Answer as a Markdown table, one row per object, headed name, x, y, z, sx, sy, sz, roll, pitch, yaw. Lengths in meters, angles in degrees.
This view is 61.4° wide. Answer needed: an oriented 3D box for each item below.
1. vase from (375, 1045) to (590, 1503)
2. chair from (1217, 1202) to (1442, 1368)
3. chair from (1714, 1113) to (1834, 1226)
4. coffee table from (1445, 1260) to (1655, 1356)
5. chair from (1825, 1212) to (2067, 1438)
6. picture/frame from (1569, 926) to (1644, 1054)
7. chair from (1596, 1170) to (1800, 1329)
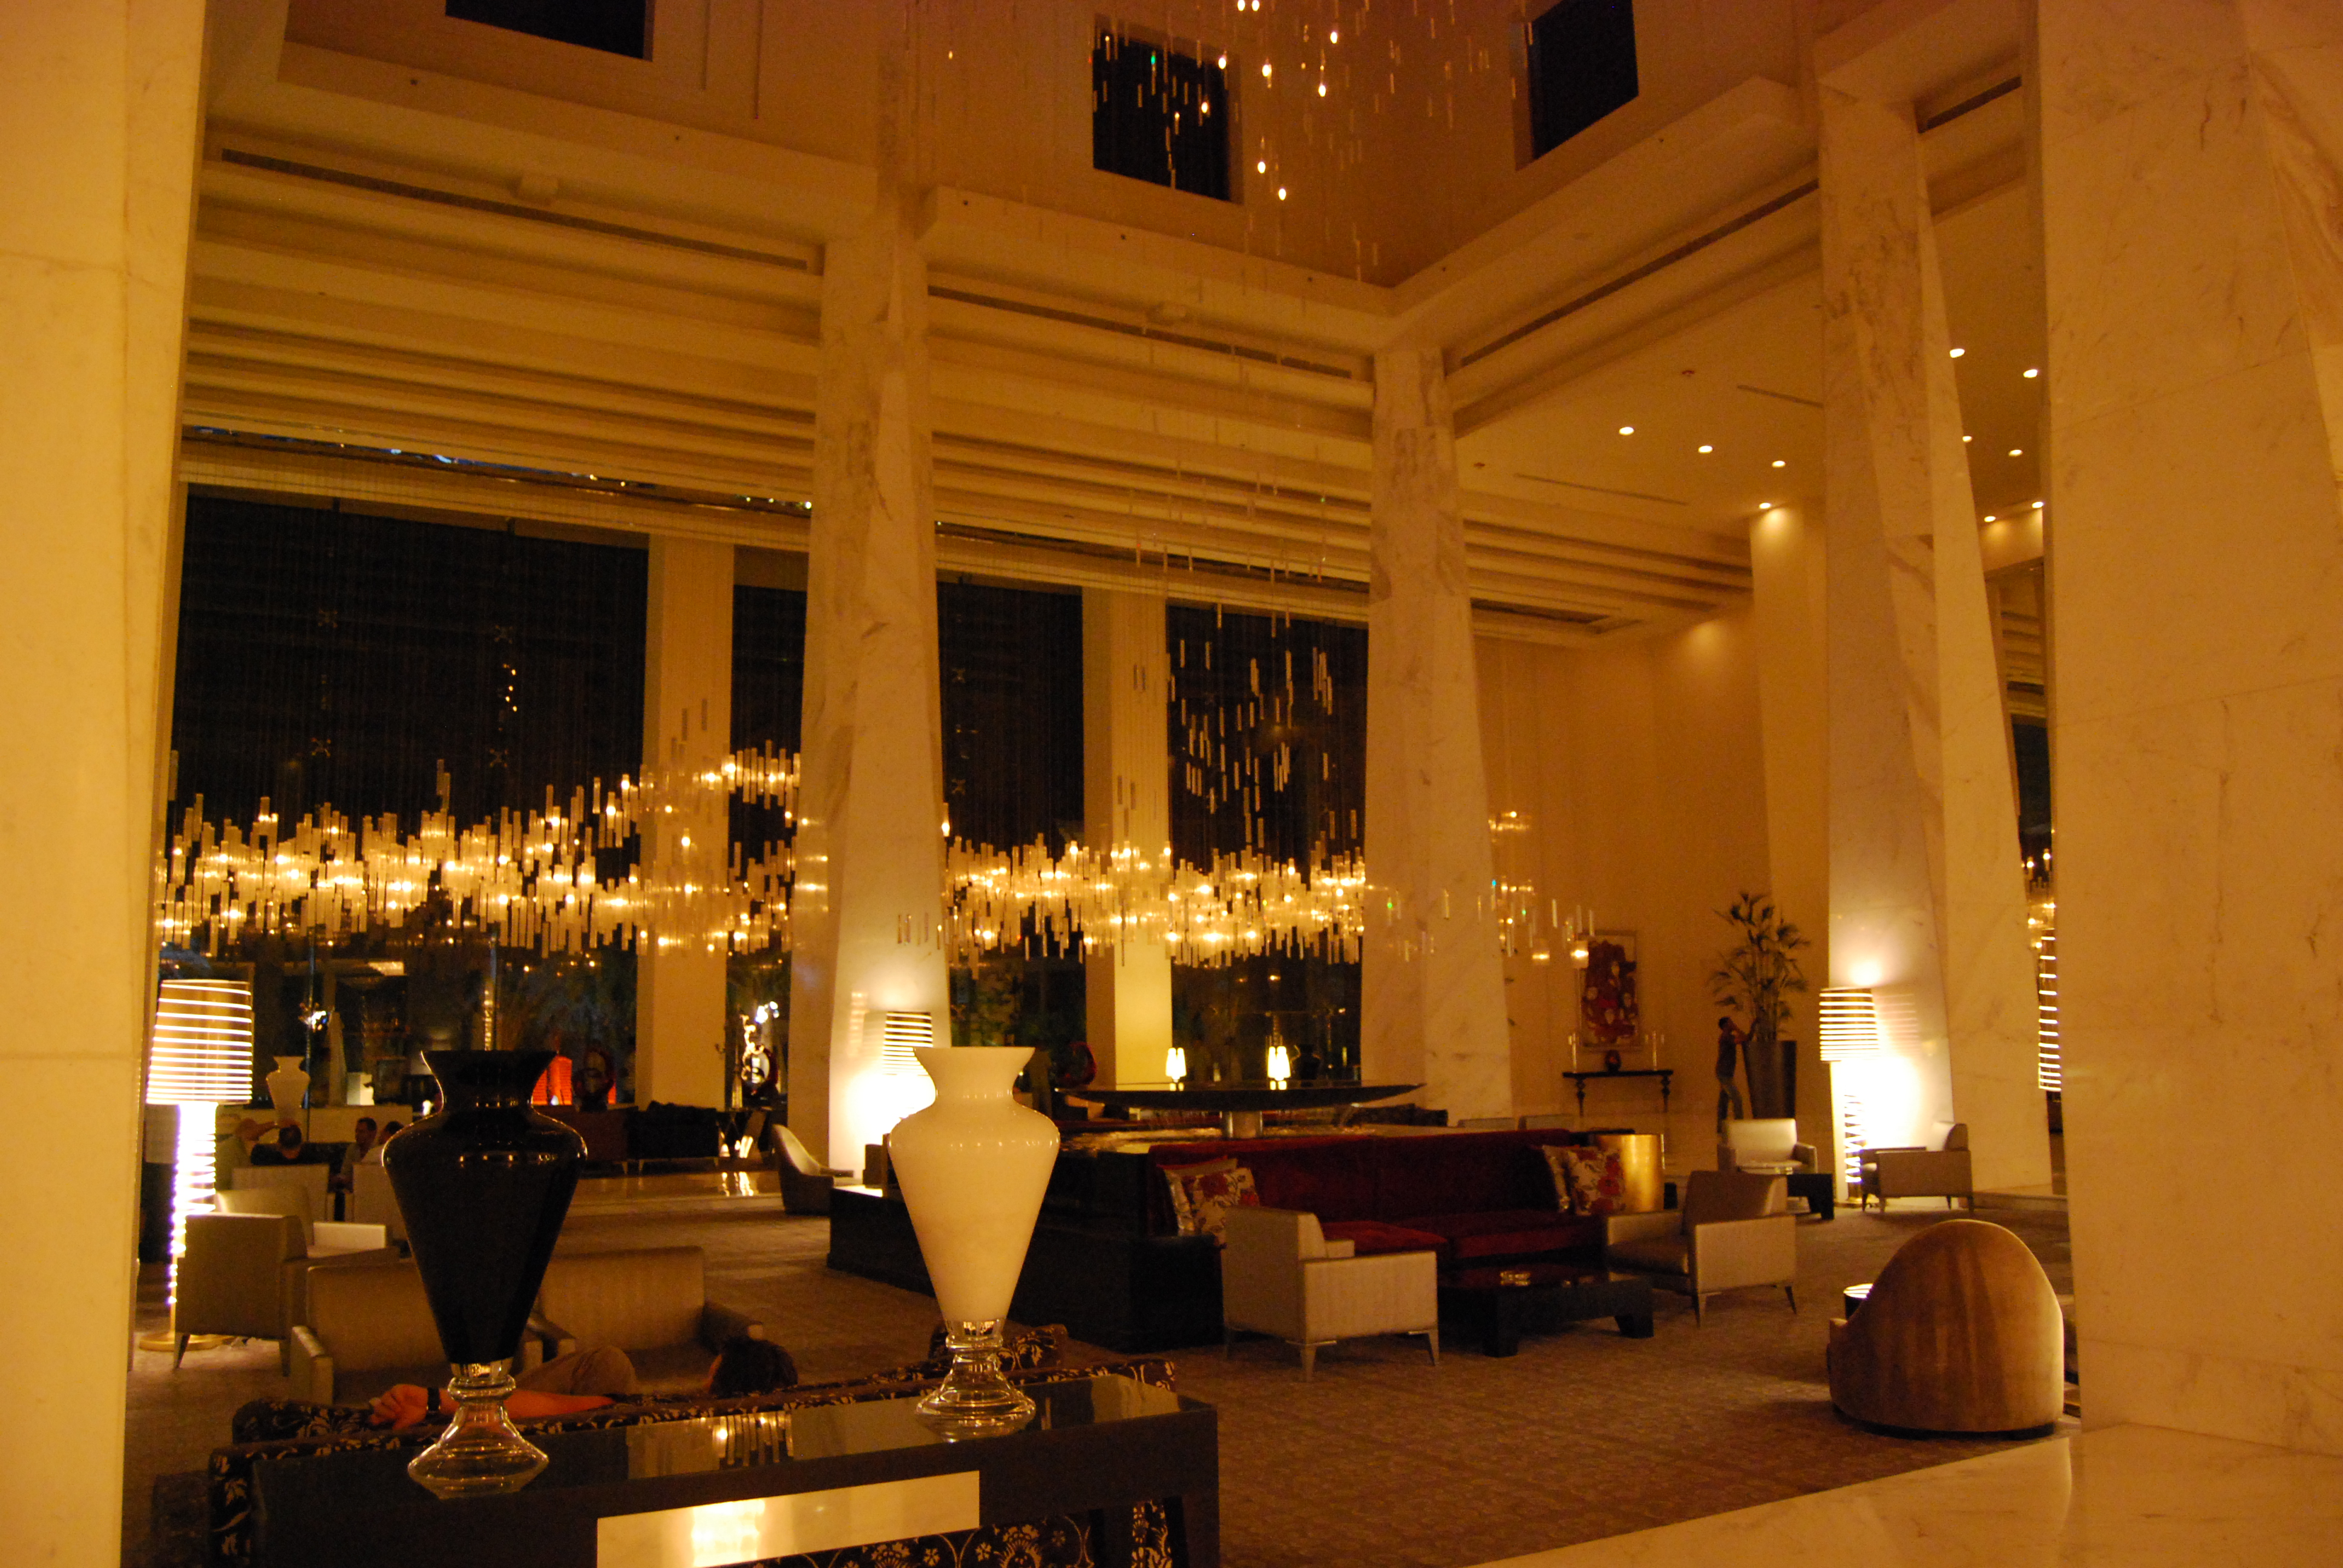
| name | x | y | z | sx | sy | sz | roll | pitch | yaw |
| --- | --- | --- | --- | --- | --- | --- | --- | --- | --- |
| vase | -1.942 | 1.338 | 5.575 | 0.510 | 0.900 | 0.430 | -2 | 1 | -23 |
| chair | 0.781 | 2.469 | 10.118 | 0.794 | 0.897 | 1.036 | 2 | -6 | -25 |
| chair | 4.603 | 2.973 | 15.252 | 0.894 | 0.720 | 0.947 | -3 | -5 | 22 |
| coffee table | 1.959 | 2.790 | 10.490 | 1.089 | 0.393 | 0.601 | -2 | 1 | -24 |
| chair | 3.423 | 2.355 | 8.830 | 0.858 | 0.869 | 0.913 | 0 | -4 | 6 |
| picture/frame | 5.046 | 2.435 | 22.882 | 0.735 | 1.545 | 0.126 | -3 | 20 | 8 |
| chair | 3.046 | 2.645 | 11.343 | 1.044 | 0.794 | 1.112 | -1 | -8 | 8 |
